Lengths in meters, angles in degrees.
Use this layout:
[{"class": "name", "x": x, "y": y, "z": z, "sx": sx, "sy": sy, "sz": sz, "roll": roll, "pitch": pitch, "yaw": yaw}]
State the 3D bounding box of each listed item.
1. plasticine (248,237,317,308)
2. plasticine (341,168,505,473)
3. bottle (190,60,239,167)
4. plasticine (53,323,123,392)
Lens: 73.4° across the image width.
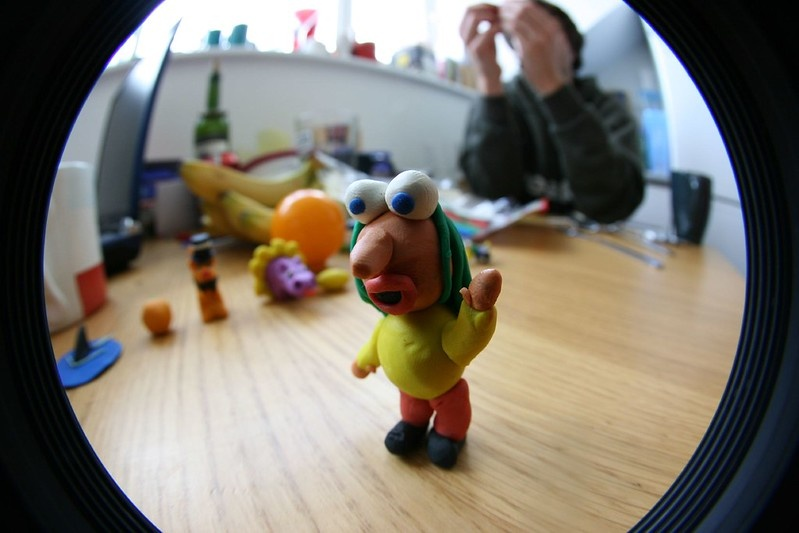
[{"class": "plasticine", "x": -0.241, "y": 0.007, "z": 1.114, "sx": 0.123, "sy": 0.041, "sz": 0.125, "roll": -28, "pitch": 61, "yaw": -37}, {"class": "plasticine", "x": 0.022, "y": 0.071, "z": 0.723, "sx": 0.197, "sy": 0.390, "sz": 0.113, "roll": 2, "pitch": 11, "yaw": -6}, {"class": "bottle", "x": -0.531, "y": -0.444, "z": 1.530, "sx": 0.103, "sy": 0.290, "sz": 0.231, "roll": -1, "pitch": 12, "yaw": -22}, {"class": "plasticine", "x": -0.560, "y": 0.150, "z": 0.962, "sx": 0.095, "sy": 0.034, "sz": 0.094, "roll": 33, "pitch": 43, "yaw": 8}]
